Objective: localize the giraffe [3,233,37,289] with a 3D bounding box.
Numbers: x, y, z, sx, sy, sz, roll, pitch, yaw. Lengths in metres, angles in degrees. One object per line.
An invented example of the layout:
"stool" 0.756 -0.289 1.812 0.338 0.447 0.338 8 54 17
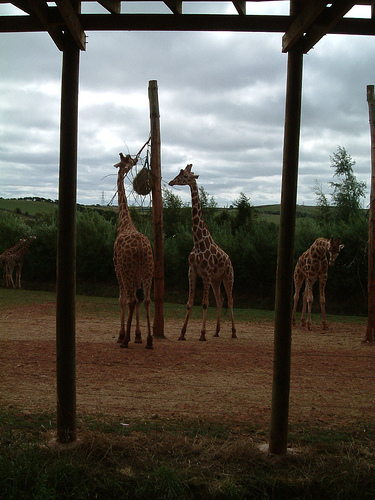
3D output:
"giraffe" -8.022 0.468 25.768 1.392 2.536 3.941 1 2 -16

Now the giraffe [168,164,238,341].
"giraffe" 0.375 0.091 10.754 1.254 3.502 3.353 1 2 5
